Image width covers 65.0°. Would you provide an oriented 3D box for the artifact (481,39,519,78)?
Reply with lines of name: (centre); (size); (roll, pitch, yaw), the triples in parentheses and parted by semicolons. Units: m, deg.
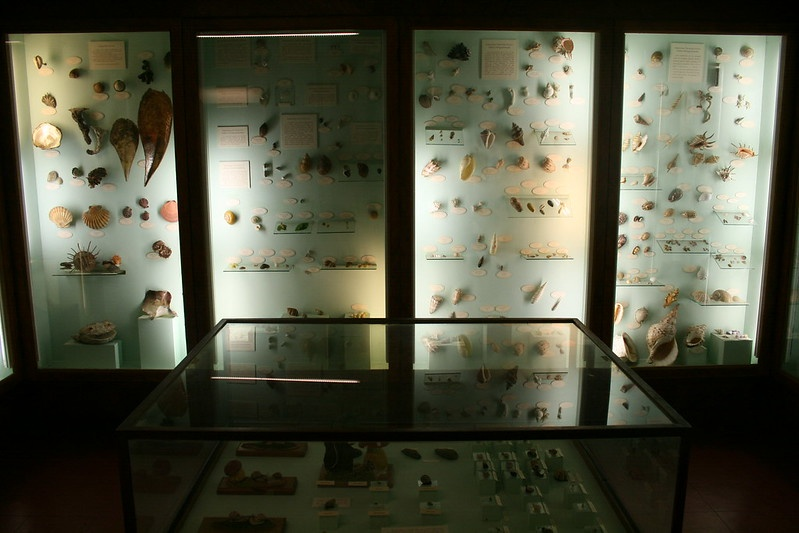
artifact: (0.778, -1.598, 4.855); (0.274, 0.082, 0.298); (-1, -67, -7)
